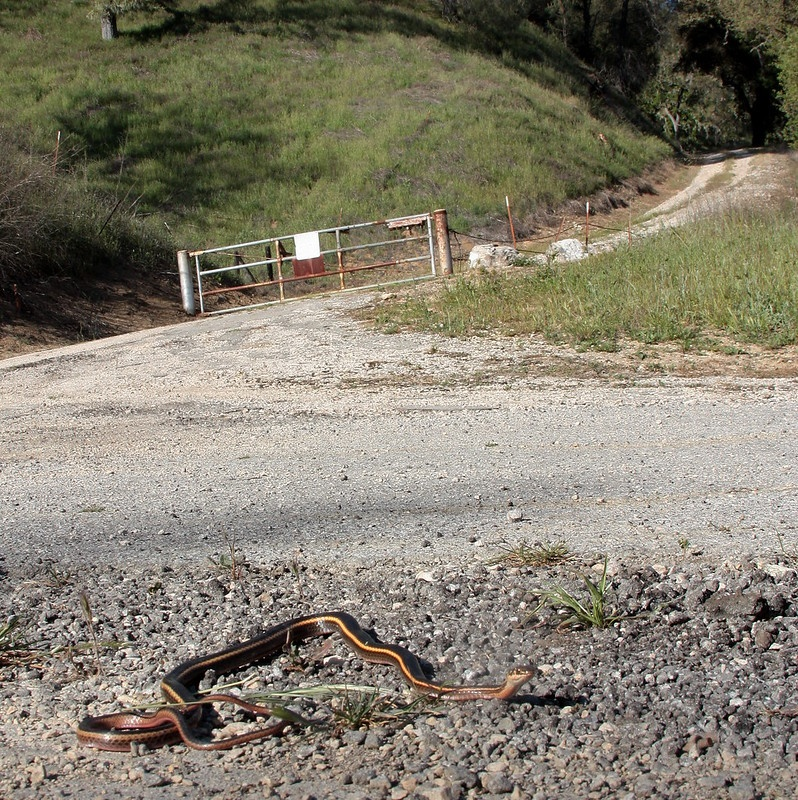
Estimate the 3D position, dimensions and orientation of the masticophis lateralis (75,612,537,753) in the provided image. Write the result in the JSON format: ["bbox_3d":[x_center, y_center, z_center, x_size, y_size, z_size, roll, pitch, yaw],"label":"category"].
[{"bbox_3d":[-0.708,1.544,6.226,1.443,0.195,0.964,-4,5,-5],"label":"masticophis lateralis"}]
